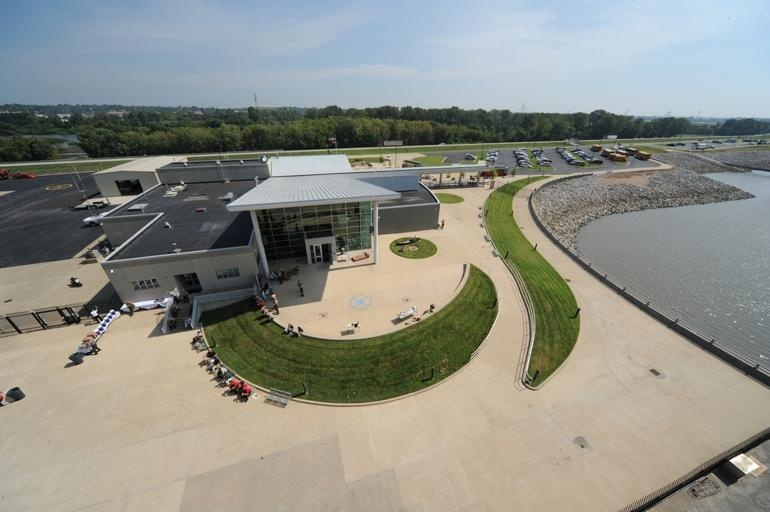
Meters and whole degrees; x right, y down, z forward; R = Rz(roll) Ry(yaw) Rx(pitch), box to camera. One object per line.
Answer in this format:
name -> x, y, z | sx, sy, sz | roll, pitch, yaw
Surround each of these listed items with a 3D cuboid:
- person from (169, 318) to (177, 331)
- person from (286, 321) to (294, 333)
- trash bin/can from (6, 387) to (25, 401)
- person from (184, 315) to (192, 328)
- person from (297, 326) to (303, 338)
person -> -28.798, 9.499, 50.153 | 0.979, 1.152, 1.202 | -12, 28, -19
person -> -12.907, 9.925, 50.041 | 0.919, 0.996, 1.201 | -5, 26, -7
trash bin/can -> -43.460, 16.604, 43.536 | 1.729, 1.346, 0.906 | -10, 29, -17
person -> -26.661, 9.336, 50.400 | 0.848, 1.094, 1.189 | -7, 27, -10
person -> -11.476, 10.450, 49.928 | 1.209, 0.957, 1.085 | 0, 10, -20
